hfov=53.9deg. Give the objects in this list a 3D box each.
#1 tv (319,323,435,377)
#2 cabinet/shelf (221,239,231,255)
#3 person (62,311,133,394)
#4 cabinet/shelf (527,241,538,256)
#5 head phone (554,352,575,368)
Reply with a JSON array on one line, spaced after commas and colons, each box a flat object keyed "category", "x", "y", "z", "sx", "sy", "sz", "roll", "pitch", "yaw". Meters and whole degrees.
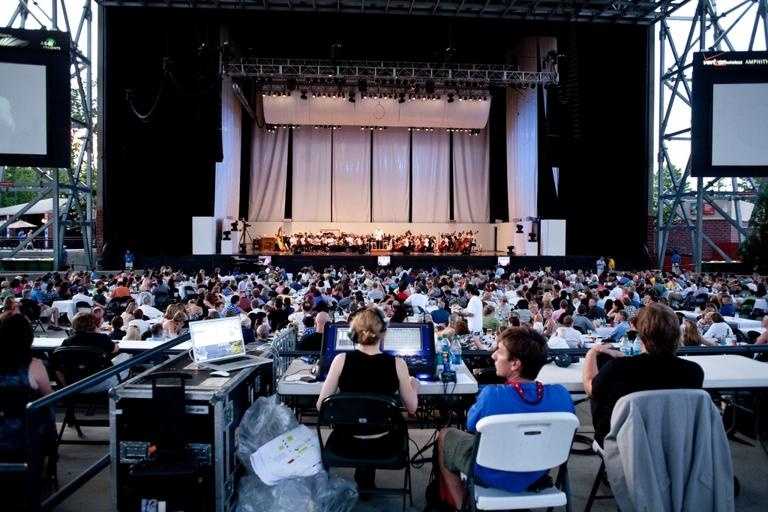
[{"category": "tv", "x": -0.016, "y": 1.903, "z": 13.315, "sx": 2.041, "sy": 1.325, "sz": 1.605, "roll": 0, "pitch": -1, "yaw": -6}, {"category": "cabinet/shelf", "x": -6.301, "y": -0.347, "z": 30.125, "sx": 0.513, "sy": 0.583, "sz": 0.534, "roll": 1, "pitch": 3, "yaw": 9}, {"category": "person", "x": -6.006, "y": 1.784, "z": 14.471, "sx": 1.130, "sy": 2.149, "sz": 1.504, "roll": 5, "pitch": 20, "yaw": -7}, {"category": "cabinet/shelf", "x": 6.147, "y": -0.294, "z": 31.157, "sx": 0.502, "sy": 0.543, "sz": 0.526, "roll": -1, "pitch": -5, "yaw": 4}, {"category": "head phone", "x": 3.215, "y": 1.818, "z": 13.416, "sx": 0.289, "sy": 0.208, "sz": 0.286, "roll": -4, "pitch": 6, "yaw": -36}]
